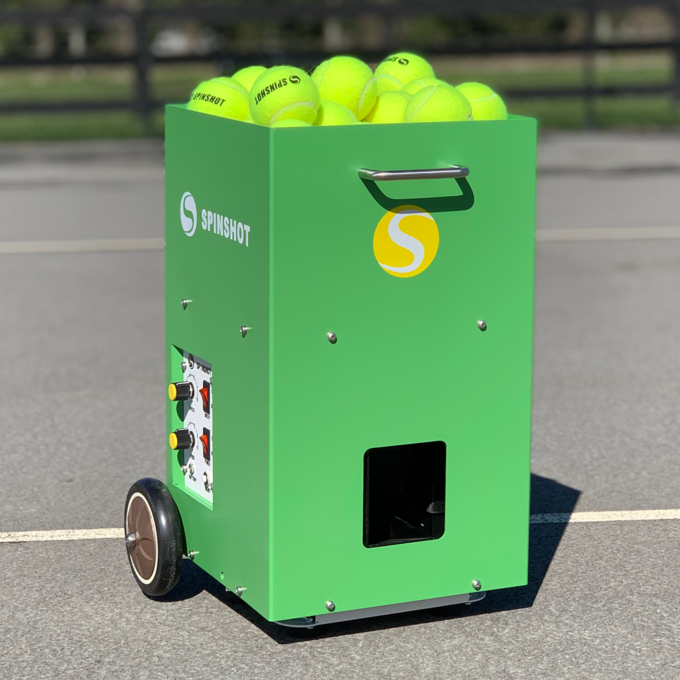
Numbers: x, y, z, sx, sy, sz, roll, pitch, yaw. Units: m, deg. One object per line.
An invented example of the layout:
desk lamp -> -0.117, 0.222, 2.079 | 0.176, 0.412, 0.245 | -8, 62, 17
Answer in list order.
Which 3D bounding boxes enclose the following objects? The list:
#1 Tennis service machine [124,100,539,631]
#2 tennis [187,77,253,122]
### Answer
Tennis service machine -> 0.067, -0.025, 4.195 | 1.368, 1.978, 1.248 | -12, 23, -22
tennis -> -0.414, -0.840, 3.904 | 0.231, 0.192, 0.252 | -15, 17, -17
